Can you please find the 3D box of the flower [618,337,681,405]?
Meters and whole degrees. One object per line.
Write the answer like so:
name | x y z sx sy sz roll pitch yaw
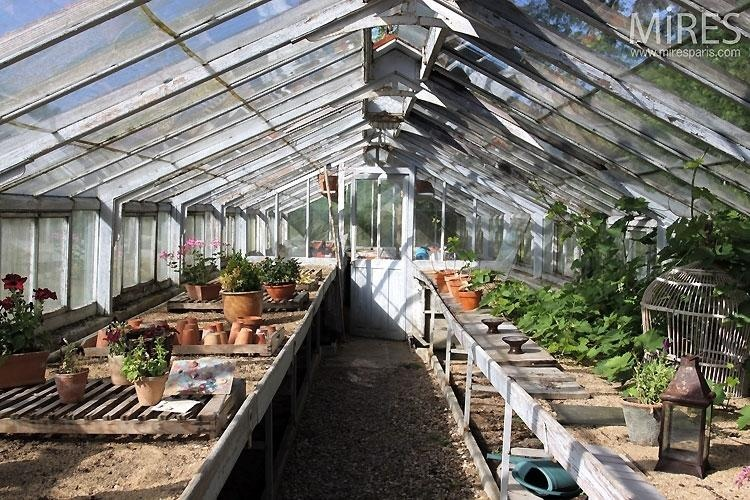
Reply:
flower | 2.143 0.945 4.770 0.345 0.480 0.357 12 -12 31

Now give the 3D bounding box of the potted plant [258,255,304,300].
potted plant | -1.318 0.389 8.626 0.684 0.704 0.538 -1 4 3

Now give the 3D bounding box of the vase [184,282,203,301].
vase | -2.459 0.555 8.375 0.207 0.212 0.260 -4 4 -20

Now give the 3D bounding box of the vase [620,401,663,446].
vase | 1.942 1.235 4.404 0.361 0.295 0.349 6 -12 -39

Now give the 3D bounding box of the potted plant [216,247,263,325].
potted plant | -1.587 0.489 7.554 0.733 1.025 0.654 -2 1 4

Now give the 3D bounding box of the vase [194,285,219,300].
vase | -2.263 0.581 8.340 0.196 0.149 0.238 2 -11 -22

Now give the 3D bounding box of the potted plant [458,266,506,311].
potted plant | 1.322 0.473 7.522 0.555 0.441 0.637 -1 3 1

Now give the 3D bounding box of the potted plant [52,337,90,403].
potted plant | -2.405 0.942 4.872 0.270 0.488 0.285 0 -3 5

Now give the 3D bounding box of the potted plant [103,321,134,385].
potted plant | -2.182 0.895 5.236 0.207 0.472 0.196 -5 -22 -7

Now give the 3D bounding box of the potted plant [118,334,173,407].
potted plant | -1.779 0.965 4.814 0.331 0.500 0.360 -10 -8 -7
